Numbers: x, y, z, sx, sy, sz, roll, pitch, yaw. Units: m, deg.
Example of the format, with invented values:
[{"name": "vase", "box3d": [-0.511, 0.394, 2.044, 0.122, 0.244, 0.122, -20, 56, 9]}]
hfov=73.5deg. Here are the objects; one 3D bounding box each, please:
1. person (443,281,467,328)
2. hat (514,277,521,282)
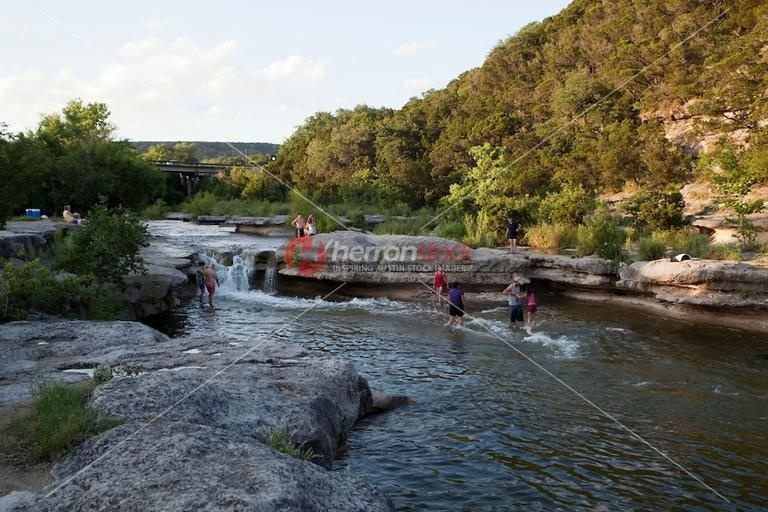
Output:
[{"name": "person", "box3d": [2.490, 1.633, 17.575, 0.519, 1.479, 0.833, 2, 3, 7]}, {"name": "hat", "box3d": [4.533, 0.800, 17.465, 0.216, 0.160, 0.164, -8, 20, -29]}]
